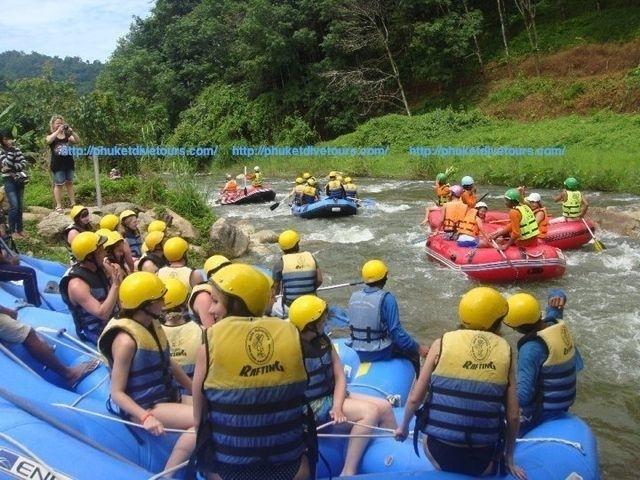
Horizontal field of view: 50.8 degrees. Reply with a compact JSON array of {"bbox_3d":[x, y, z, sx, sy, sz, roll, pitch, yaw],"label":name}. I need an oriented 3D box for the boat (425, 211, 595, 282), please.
[{"bbox_3d":[3.447,0.309,13.872,1.622,0.502,2.698,-4,7,-10],"label":"boat"}]

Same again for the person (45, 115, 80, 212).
[{"bbox_3d":[-5.105,-1.525,13.416,0.601,1.915,1.015,-10,10,-22],"label":"person"}]

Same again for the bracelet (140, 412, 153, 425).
[{"bbox_3d":[-1.878,1.933,7.234,0.049,0.128,0.111,31,4,17],"label":"bracelet"}]

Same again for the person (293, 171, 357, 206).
[{"bbox_3d":[-0.164,-1.489,20.387,1.163,0.658,1.626,-6,8,-23],"label":"person"}]

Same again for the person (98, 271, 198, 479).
[{"bbox_3d":[-1.911,1.242,7.325,0.914,1.735,0.537,-9,10,-21],"label":"person"}]

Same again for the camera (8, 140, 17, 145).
[{"bbox_3d":[-5.662,-1.769,12.309,0.189,0.071,0.143,20,17,39],"label":"camera"}]

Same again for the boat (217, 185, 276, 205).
[{"bbox_3d":[-2.413,-1.484,23.383,1.301,0.407,0.843,-16,6,-21],"label":"boat"}]

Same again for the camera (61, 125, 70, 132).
[{"bbox_3d":[-4.958,-2.156,13.073,0.082,0.124,0.120,34,-6,-14],"label":"camera"}]

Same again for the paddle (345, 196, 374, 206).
[{"bbox_3d":[1.222,-1.182,20.573,0.780,0.111,0.379,21,-28,-16],"label":"paddle"}]
